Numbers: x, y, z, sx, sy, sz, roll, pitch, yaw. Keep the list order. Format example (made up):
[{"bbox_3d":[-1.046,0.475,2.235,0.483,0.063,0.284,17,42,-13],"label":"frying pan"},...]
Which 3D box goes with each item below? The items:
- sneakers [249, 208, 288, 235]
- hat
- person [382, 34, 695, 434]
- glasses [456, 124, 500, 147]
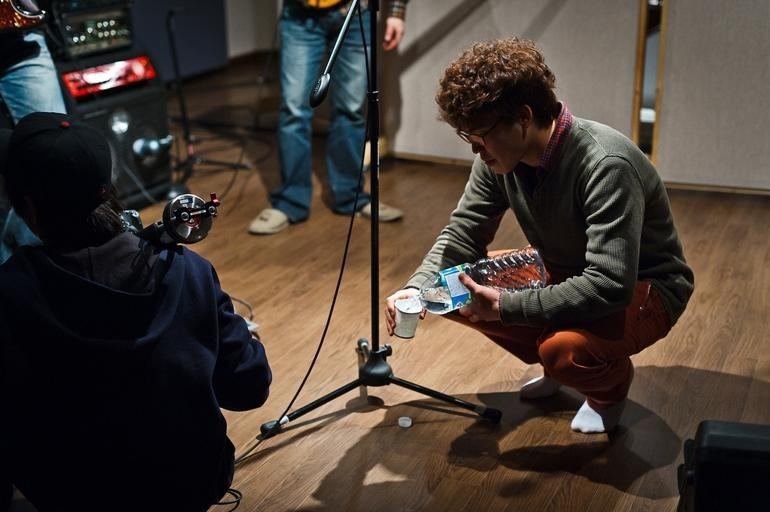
[{"bbox_3d":[-0.559,-0.169,3.029,0.097,0.077,0.187,31,30,26],"label":"sneakers"},{"bbox_3d":[-0.659,-0.161,1.272,0.215,0.127,0.163,47,47,13],"label":"hat"},{"bbox_3d":[0.473,-0.053,1.872,0.738,1.084,0.695,5,17,38],"label":"person"},{"bbox_3d":[0.257,-0.309,1.622,0.061,0.019,0.060,-41,28,-24],"label":"glasses"}]
